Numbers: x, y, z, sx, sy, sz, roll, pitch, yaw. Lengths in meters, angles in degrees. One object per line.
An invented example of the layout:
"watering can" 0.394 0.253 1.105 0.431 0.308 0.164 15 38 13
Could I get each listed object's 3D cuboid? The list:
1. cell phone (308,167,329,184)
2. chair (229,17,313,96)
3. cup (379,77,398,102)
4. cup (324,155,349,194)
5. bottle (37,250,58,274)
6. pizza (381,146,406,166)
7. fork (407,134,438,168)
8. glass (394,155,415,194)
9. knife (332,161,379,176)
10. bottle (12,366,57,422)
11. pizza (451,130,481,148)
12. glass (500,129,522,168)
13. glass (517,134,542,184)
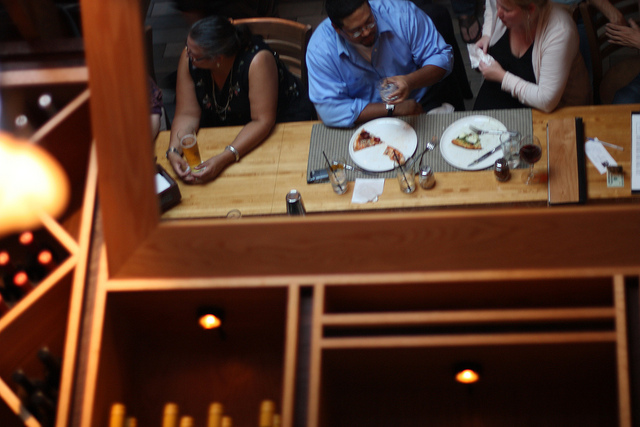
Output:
"cell phone" -0.010 -0.191 2.884 0.080 0.066 0.026 -10 -21 -1
"chair" -0.177 -0.954 3.548 0.370 0.500 0.665 1 3 8
"cup" 0.355 -0.661 3.116 0.096 0.123 0.100 0 -14 0
"cup" 0.089 -0.202 2.899 0.098 0.171 0.178 -10 43 10
"bottle" -1.021 0.179 2.278 0.052 0.085 0.049 -31 0 0
"pizza" 0.352 -0.284 2.929 0.070 0.030 0.133 -44 53 -4
"fork" 0.494 -0.299 2.914 0.191 0.031 0.026 -53 -2 -18
"glass" 0.406 -0.191 2.853 0.089 0.156 0.167 -9 52 15
"knife" 0.177 -0.219 2.912 0.142 0.013 0.022 22 50 20
"bottle" -0.960 0.618 2.036 0.099 0.103 0.106 -44 49 4
"pizza" 0.705 -0.351 2.898 0.079 0.020 0.081 -4 63 11
"glass" 0.891 -0.299 2.844 0.133 0.164 0.128 -11 6 -43
"glass" 0.952 -0.240 2.749 0.114 0.259 0.136 -10 60 14
